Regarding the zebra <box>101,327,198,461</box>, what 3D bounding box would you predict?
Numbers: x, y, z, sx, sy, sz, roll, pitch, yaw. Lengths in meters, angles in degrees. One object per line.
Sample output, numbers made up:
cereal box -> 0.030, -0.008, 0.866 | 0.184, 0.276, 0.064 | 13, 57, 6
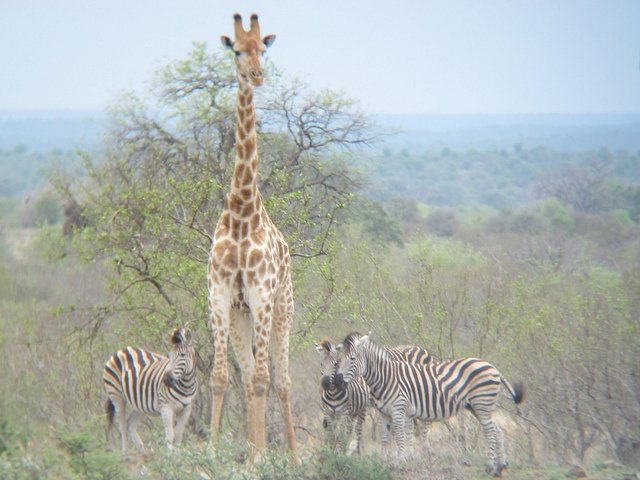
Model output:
zebra -> -3.302, 2.901, 12.406 | 1.994, 2.547, 0.669 | 2, 6, 31

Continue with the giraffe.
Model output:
giraffe -> -1.297, -0.030, 11.592 | 1.651, 8.027, 1.221 | -4, 6, -21
